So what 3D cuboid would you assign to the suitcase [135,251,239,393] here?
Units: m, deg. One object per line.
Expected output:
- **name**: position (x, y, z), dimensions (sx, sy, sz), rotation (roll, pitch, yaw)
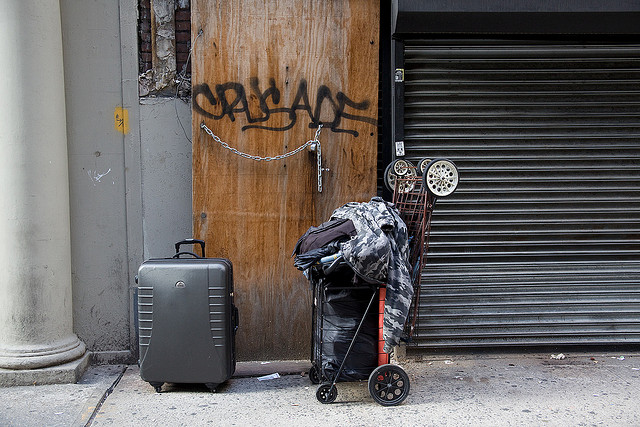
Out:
- **suitcase**: position (-1.396, 1.167, 8.325), dimensions (1.149, 1.457, 0.601), rotation (-2, -2, 9)
